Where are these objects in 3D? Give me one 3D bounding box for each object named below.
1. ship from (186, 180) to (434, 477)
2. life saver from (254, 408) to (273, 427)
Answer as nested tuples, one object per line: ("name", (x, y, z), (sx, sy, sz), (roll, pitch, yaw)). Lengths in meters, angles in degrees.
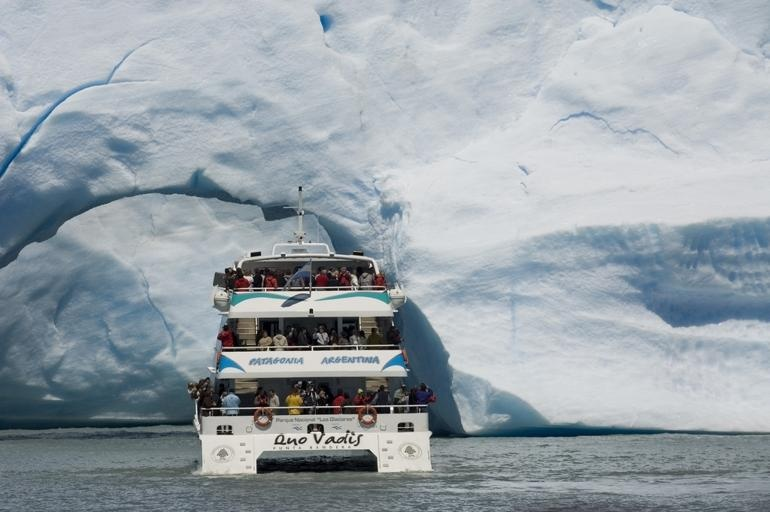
("ship", (-3.091, 2.403, 58.879), (7.876, 11.860, 13.927), (-6, -9, -2))
("life saver", (-4.040, 5.361, 51.418), (0.788, 0.560, 0.250), (1, -4, 0))
